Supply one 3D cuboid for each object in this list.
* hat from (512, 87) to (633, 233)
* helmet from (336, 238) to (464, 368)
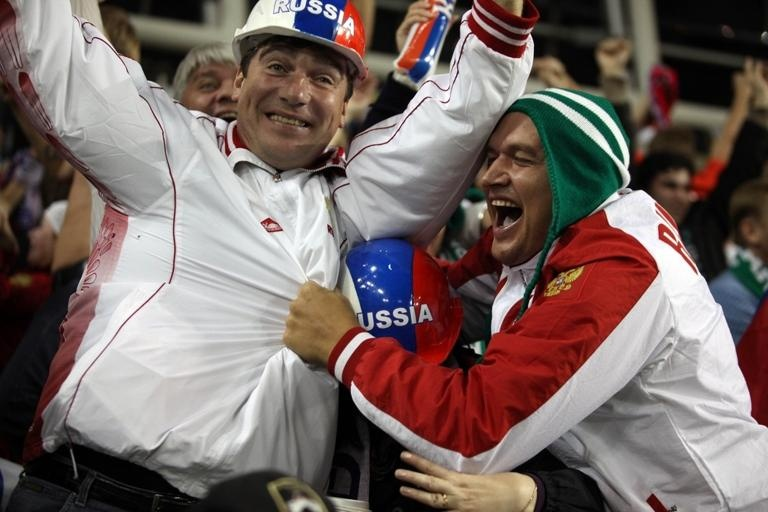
[{"bbox_3d":[0.678,-0.314,3.592,0.491,0.461,0.638,5,72,-8],"label":"hat"},{"bbox_3d":[0.079,0.145,3.448,0.520,0.276,0.391,34,41,-15],"label":"helmet"}]
